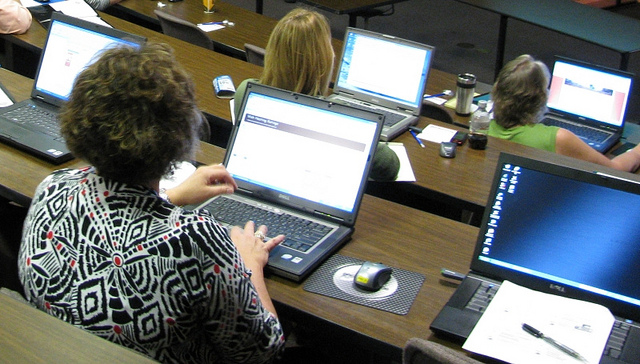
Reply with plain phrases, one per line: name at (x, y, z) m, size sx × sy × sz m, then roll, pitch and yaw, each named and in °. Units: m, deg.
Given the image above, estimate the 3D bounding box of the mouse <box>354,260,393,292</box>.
mouse at (0.212, 0.351, 1.917) m, size 0.124 × 0.061 × 0.201 m, roll 17°, pitch 25°, yaw 22°

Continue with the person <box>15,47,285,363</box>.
person at (-0.526, 0.093, 1.573) m, size 0.905 × 0.966 × 0.478 m, roll 29°, pitch 20°, yaw 26°

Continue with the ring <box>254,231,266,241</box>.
ring at (-0.246, 0.215, 1.918) m, size 0.044 × 0.027 × 0.051 m, roll 16°, pitch 18°, yaw -5°

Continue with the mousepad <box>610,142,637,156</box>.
mousepad at (2.144, -0.235, 3.403) m, size 0.256 × 0.009 × 0.088 m, roll -28°, pitch 44°, yaw -20°

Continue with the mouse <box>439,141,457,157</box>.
mouse at (0.730, -0.195, 2.781) m, size 0.097 × 0.069 × 0.085 m, roll 2°, pitch 28°, yaw -2°
